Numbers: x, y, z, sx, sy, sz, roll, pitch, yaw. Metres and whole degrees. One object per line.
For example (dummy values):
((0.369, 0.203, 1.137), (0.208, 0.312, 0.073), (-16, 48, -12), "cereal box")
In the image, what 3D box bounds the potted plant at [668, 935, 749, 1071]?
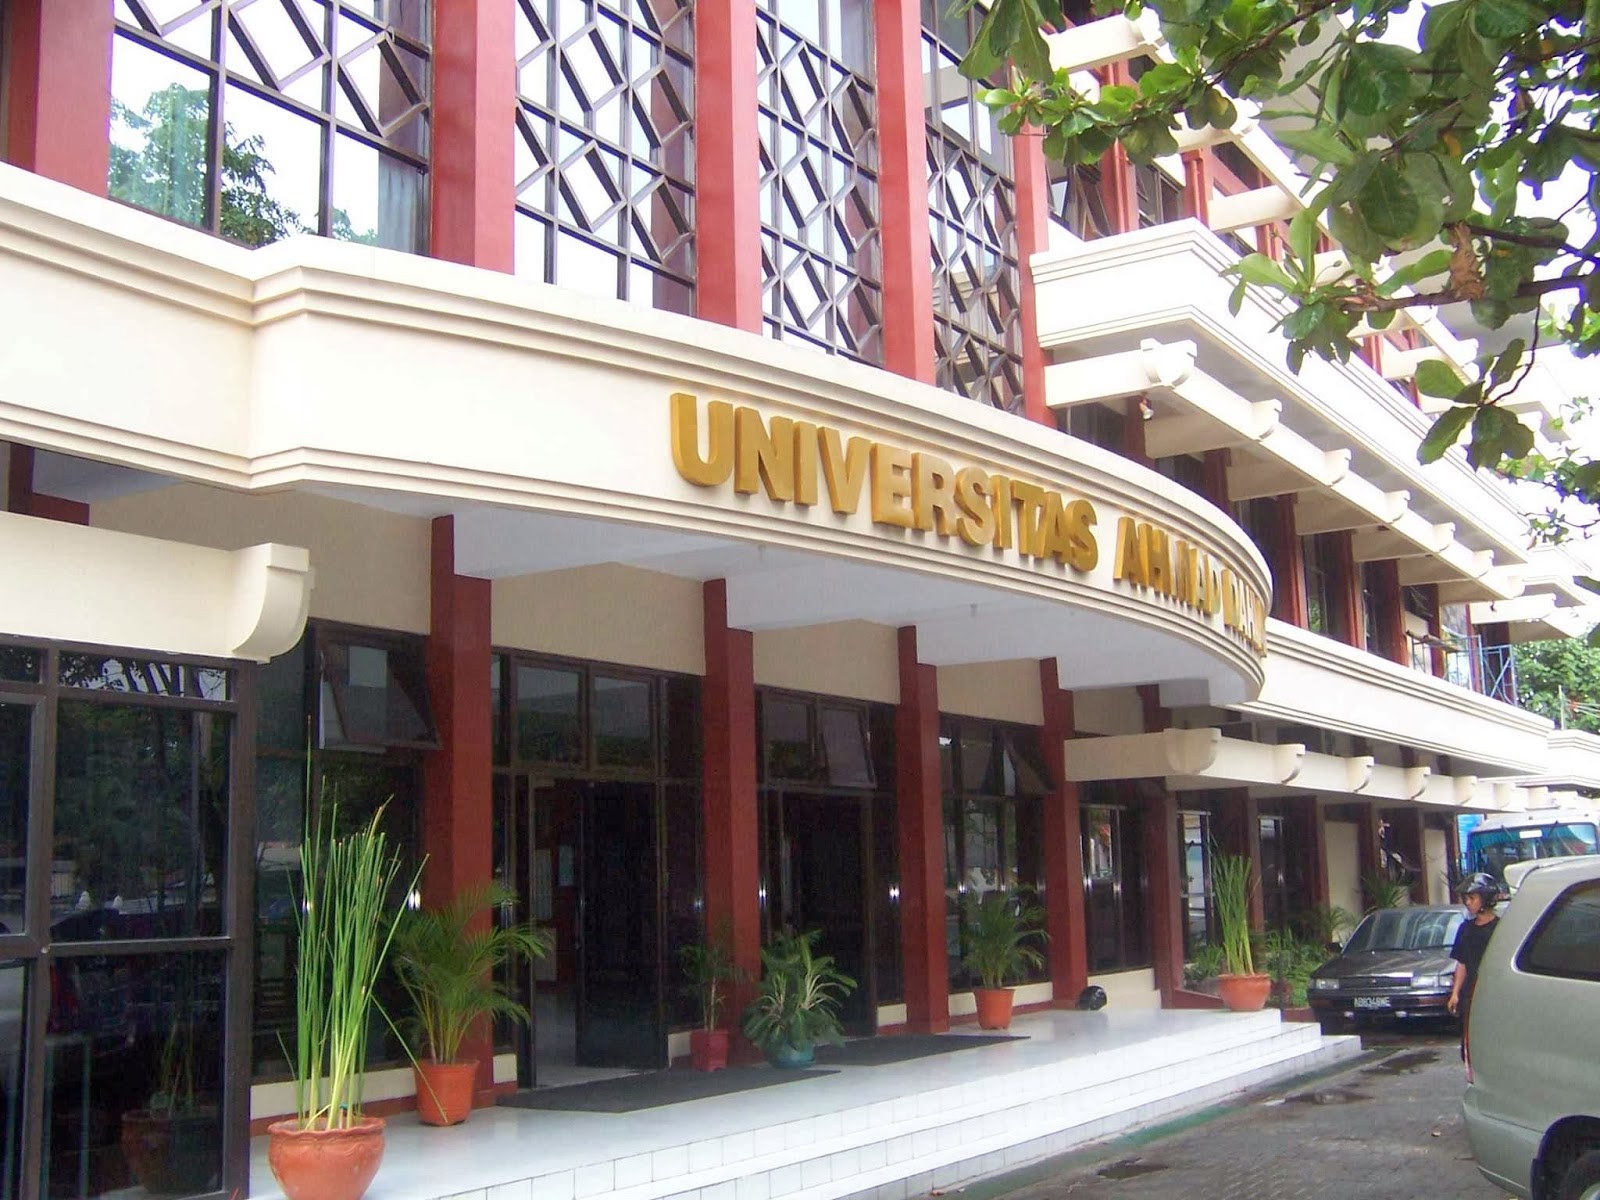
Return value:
((-0.896, 4.162, 13.814), (0.711, 1.294, 0.564), (-3, -13, -2), "potted plant")

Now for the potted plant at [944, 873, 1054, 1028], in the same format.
((2.662, 4.805, 17.978), (1.221, 1.789, 1.131), (12, -19, -40), "potted plant")

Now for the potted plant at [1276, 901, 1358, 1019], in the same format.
((9.025, 6.307, 23.225), (1.158, 1.104, 2.100), (-9, -21, 29), "potted plant")

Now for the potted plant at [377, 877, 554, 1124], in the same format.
((-3.144, 3.521, 11.742), (1.576, 2.175, 1.584), (-3, -12, 17), "potted plant")

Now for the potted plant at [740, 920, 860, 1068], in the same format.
((0.032, 4.253, 13.963), (1.104, 1.316, 1.204), (4, -26, -22), "potted plant")

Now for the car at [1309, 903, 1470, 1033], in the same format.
((9.407, 5.953, 21.251), (2.117, 1.824, 2.732), (-12, -16, 31), "car")
